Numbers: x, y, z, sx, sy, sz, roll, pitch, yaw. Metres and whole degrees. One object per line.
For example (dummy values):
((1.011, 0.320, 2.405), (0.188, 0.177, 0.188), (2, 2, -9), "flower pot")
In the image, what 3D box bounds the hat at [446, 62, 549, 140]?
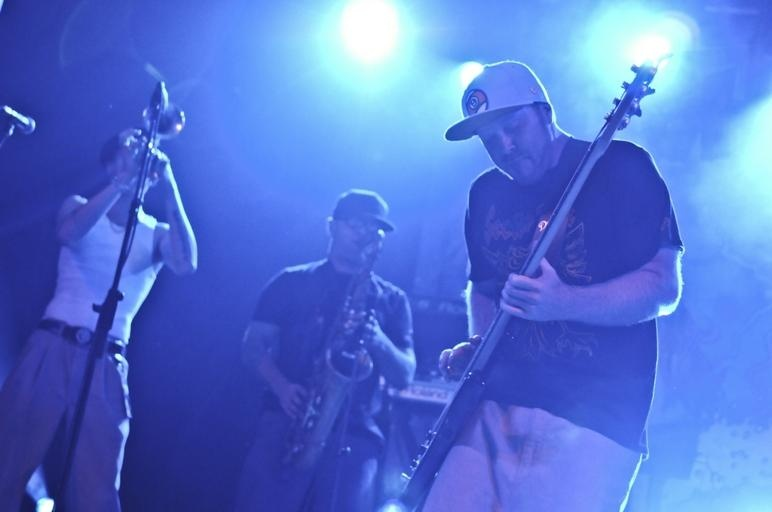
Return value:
((0.646, -1.256, 6.262), (0.551, 0.477, 0.804), (-14, 10, -1), "hat")

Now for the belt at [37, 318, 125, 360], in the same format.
((-2.689, 0.712, 6.846), (0.754, 0.297, 0.144), (15, -3, -8), "belt")

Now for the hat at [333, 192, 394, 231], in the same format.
((-0.191, -0.488, 8.137), (0.754, 0.389, 0.639), (0, 8, 15), "hat")
